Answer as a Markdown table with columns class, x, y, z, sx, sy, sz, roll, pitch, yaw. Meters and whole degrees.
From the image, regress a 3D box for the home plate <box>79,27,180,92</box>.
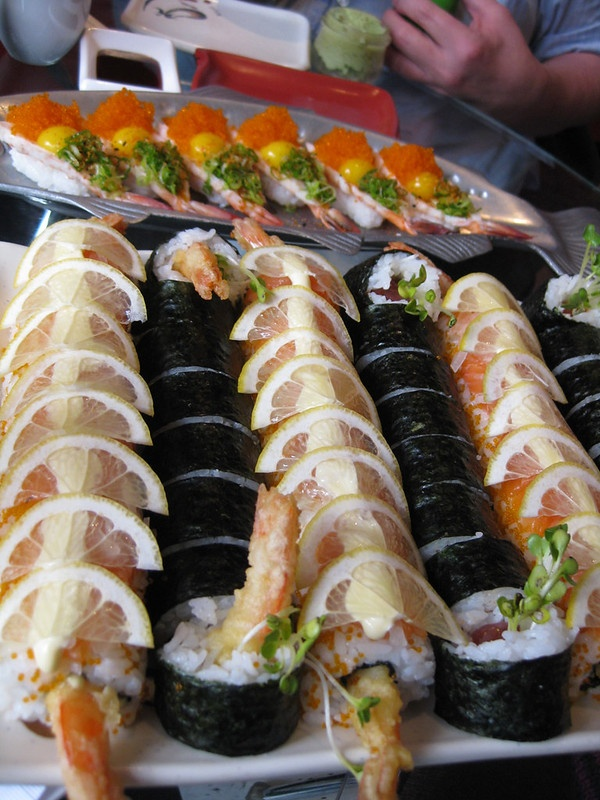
| class | x | y | z | sx | sy | sz | roll | pitch | yaw |
| --- | --- | --- | --- | --- | --- | --- | --- | --- | --- |
| home plate | -0.805 | -1.574 | 3.424 | 0.454 | 0.115 | 0.490 | -3 | 52 | -10 |
